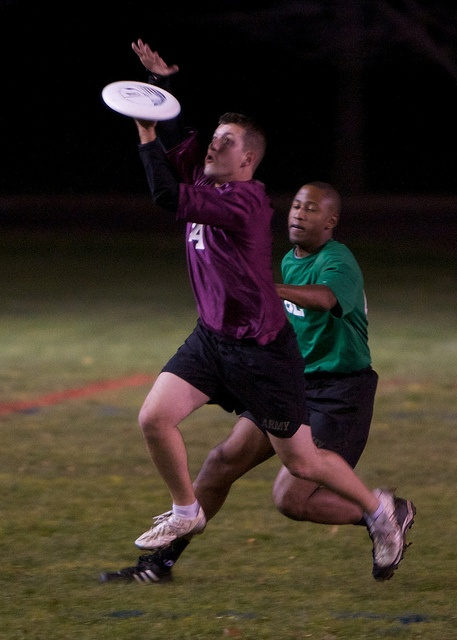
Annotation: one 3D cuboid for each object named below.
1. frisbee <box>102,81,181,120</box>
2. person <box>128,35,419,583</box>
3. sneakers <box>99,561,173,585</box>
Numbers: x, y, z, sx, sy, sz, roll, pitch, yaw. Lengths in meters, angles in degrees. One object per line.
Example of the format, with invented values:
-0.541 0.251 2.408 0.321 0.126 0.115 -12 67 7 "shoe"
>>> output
-0.244 -0.611 2.194 0.228 0.041 0.185 10 23 -17 "frisbee"
0.079 -0.070 2.429 0.779 1.727 0.823 -2 4 -7 "person"
-0.266 0.777 2.408 0.261 0.076 0.072 5 -12 -8 "sneakers"
